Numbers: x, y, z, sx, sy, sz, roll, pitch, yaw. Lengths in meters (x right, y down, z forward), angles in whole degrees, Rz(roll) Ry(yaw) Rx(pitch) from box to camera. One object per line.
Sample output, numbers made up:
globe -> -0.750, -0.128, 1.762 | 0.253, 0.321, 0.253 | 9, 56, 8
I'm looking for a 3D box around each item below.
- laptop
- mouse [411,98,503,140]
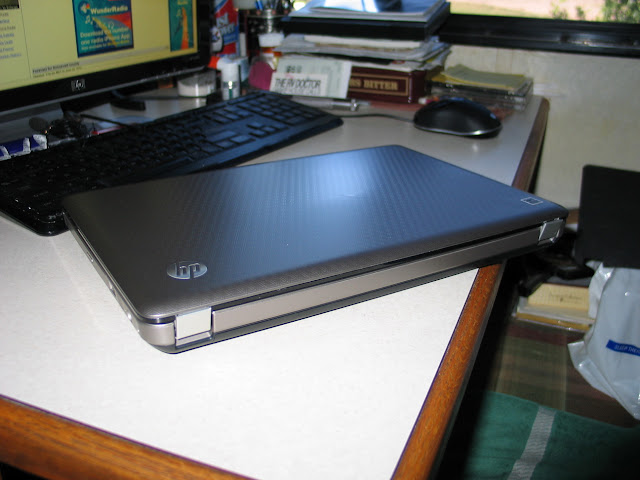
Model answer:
laptop -> -0.005, -0.064, 0.477 | 0.371, 0.050, 0.263 | -15, 29, -26
mouse -> 0.266, -0.253, 0.934 | 0.165, 0.053, 0.121 | 14, 41, 27
